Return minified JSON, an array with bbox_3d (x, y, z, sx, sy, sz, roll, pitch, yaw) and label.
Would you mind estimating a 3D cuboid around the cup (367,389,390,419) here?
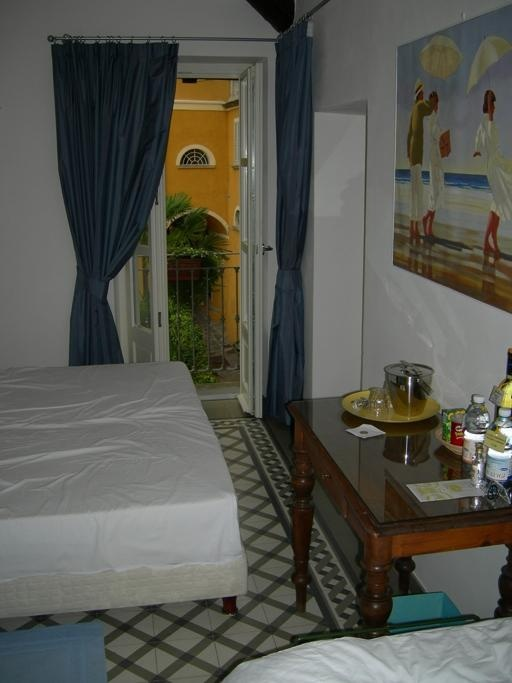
[{"bbox_3d":[0.403,0.202,1.616,0.048,0.092,0.089,2,12,20],"label":"cup"}]
